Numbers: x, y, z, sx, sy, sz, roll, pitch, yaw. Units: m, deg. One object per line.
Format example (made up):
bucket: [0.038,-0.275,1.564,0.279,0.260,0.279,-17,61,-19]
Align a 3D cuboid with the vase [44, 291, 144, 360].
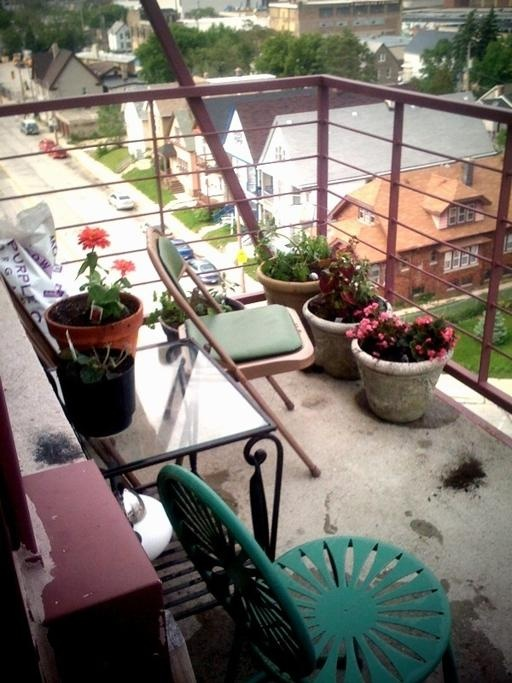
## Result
vase: [-0.371,-0.001,1.315,0.184,0.130,0.180,-25,40,-36]

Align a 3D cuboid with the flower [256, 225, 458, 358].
flower: [0.296,-0.286,2.589,0.561,0.361,0.550,3,29,8]

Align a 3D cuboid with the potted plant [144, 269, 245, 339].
potted plant: [-0.307,-0.145,2.627,0.402,0.149,0.248,9,43,-11]

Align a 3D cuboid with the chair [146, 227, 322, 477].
chair: [-0.075,0.020,2.002,0.610,0.795,0.534,-8,30,-18]

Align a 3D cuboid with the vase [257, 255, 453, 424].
vase: [0.424,0.012,2.371,0.528,0.366,0.725,-31,54,-19]

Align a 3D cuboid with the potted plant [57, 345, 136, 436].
potted plant: [-0.309,0.087,1.183,0.170,0.157,0.184,-2,31,-6]
